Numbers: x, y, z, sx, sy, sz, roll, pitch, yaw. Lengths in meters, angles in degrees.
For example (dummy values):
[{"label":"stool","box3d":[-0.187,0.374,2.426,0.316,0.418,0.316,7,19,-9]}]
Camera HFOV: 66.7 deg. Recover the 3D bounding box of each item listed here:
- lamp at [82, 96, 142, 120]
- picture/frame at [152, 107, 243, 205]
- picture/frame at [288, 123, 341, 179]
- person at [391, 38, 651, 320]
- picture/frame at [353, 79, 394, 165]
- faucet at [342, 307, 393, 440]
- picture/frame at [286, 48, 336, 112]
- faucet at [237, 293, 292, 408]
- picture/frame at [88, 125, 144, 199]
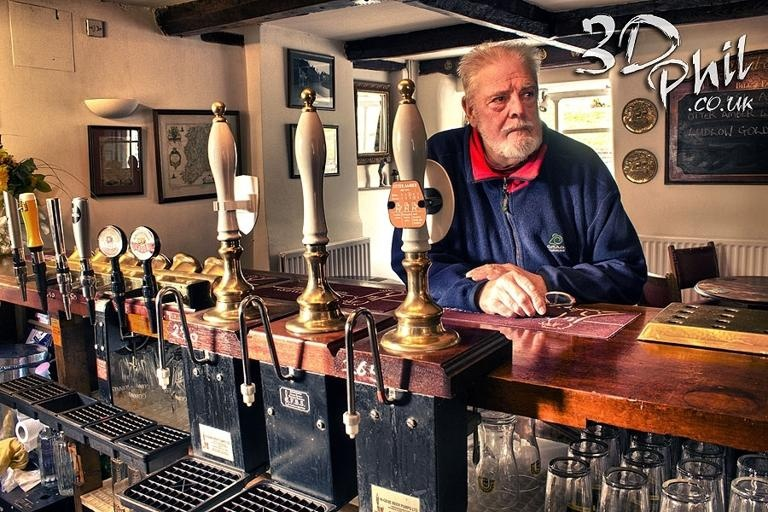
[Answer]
[{"label":"lamp","box3d":[-1.907,-1.053,4.173,0.418,0.140,0.216,-13,18,-41]},{"label":"picture/frame","box3d":[-1.593,-0.805,4.719,0.147,0.730,0.617,5,15,23]},{"label":"picture/frame","box3d":[-0.641,-0.969,5.477,0.043,0.479,0.606,8,13,40]},{"label":"person","box3d":[0.511,-0.134,2.447,1.071,1.433,0.810,3,10,26]},{"label":"picture/frame","box3d":[-0.138,-1.495,6.559,0.155,0.878,0.642,7,16,31]},{"label":"faucet","box3d":[-0.044,0.276,1.372,0.109,0.374,0.271,-2,14,-4]},{"label":"picture/frame","box3d":[-0.671,-1.626,5.424,0.660,0.512,0.030,20,27,39]},{"label":"faucet","box3d":[-0.313,0.237,1.500,0.125,0.332,0.250,-5,14,-15]},{"label":"picture/frame","box3d":[-1.961,-0.689,4.263,0.051,0.517,0.407,13,16,35]}]
